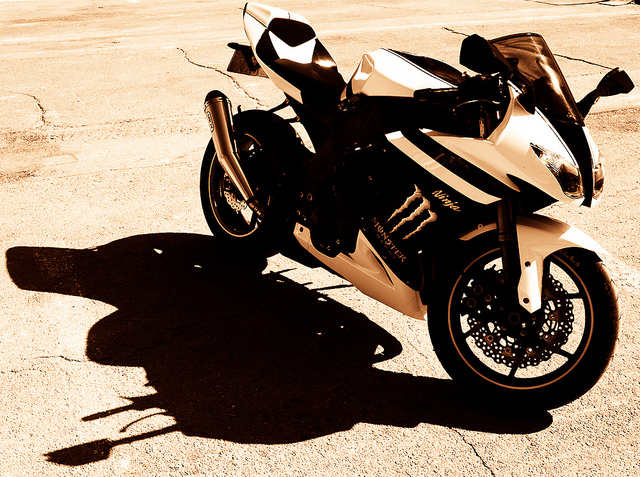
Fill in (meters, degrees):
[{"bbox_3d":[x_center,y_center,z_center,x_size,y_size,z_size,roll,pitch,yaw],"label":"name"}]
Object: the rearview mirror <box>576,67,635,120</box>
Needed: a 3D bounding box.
[{"bbox_3d":[1.651,-0.833,3.805,0.372,0.169,0.205,-26,41,-2],"label":"rearview mirror"}]
